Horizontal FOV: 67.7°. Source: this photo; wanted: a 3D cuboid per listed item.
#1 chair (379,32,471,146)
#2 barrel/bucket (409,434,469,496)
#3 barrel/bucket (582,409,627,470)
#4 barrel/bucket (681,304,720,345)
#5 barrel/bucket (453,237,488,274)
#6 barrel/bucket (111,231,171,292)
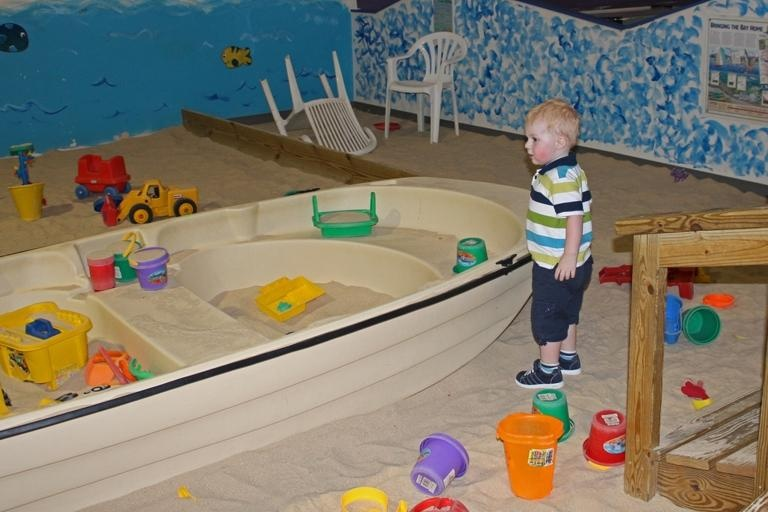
[{"bbox_3d":[0.544,-2.120,7.210,1.003,1.269,1.375,2,20,16],"label":"chair"},{"bbox_3d":[0.240,0.869,2.441,0.206,0.214,0.212,-3,19,1],"label":"barrel/bucket"},{"bbox_3d":[0.951,0.789,2.534,0.228,0.198,0.214,1,18,0],"label":"barrel/bucket"},{"bbox_3d":[1.798,0.387,3.248,0.234,0.208,0.165,5,11,13],"label":"barrel/bucket"},{"bbox_3d":[0.510,-0.022,3.465,0.224,0.186,0.208,-6,13,1],"label":"barrel/bucket"},{"bbox_3d":[-1.388,0.021,3.405,0.382,0.304,0.289,8,18,35],"label":"barrel/bucket"}]
